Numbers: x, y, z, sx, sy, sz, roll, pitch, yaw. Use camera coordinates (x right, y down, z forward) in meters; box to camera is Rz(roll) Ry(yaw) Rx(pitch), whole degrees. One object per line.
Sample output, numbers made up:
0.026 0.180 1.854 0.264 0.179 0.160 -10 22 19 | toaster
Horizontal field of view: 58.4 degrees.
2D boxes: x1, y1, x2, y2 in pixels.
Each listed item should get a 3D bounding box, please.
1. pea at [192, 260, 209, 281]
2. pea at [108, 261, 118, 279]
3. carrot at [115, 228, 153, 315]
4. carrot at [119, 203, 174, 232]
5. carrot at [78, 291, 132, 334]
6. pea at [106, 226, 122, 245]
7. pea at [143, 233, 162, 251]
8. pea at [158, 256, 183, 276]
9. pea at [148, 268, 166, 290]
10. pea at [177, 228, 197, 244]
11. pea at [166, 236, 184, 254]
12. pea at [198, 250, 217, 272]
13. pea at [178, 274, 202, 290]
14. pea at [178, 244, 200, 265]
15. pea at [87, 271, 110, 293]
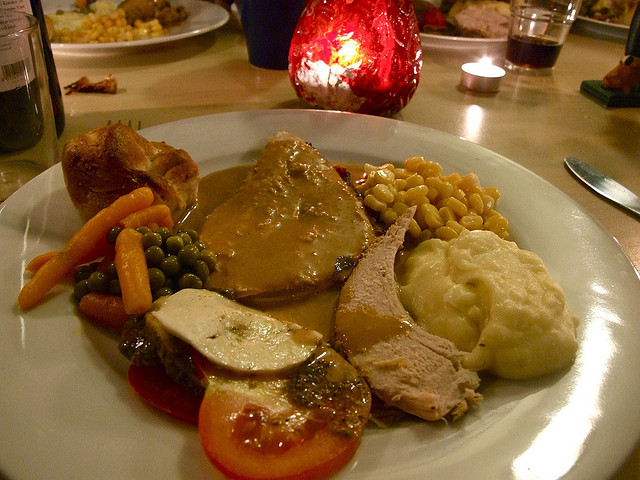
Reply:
-0.482 0.116 2.293 0.052 0.077 0.041 -4 26 13 | pea
-0.809 0.115 2.233 0.032 0.039 0.069 -8 52 -16 | pea
-0.714 0.122 2.179 0.120 0.107 0.397 8 42 -29 | carrot
-0.706 -0.094 2.385 0.120 0.037 0.126 -11 36 -20 | carrot
-0.803 0.268 2.132 0.216 0.112 0.074 22 -9 2 | carrot
-0.829 -0.020 2.291 0.059 0.076 0.062 4 4 9 | pea
-0.673 -0.004 2.293 0.061 0.064 0.072 28 -3 -22 | pea
-0.594 0.097 2.263 0.060 0.066 0.083 9 3 -9 | pea
-0.639 0.149 2.226 0.068 0.089 0.069 -3 2 -11 | pea
-0.570 -0.024 2.464 0.079 0.048 0.063 28 26 19 | pea
-0.588 0.016 2.307 0.057 0.062 0.061 0 0 -7 | pea
-0.454 0.070 2.344 0.070 0.076 0.074 12 30 24 | pea
-0.516 0.163 2.263 0.068 0.059 0.053 19 21 8 | pea
-0.531 0.061 2.309 0.076 0.060 0.063 5 60 -8 | pea
-0.844 0.160 2.182 0.066 0.089 0.069 2 11 -10 | pea
